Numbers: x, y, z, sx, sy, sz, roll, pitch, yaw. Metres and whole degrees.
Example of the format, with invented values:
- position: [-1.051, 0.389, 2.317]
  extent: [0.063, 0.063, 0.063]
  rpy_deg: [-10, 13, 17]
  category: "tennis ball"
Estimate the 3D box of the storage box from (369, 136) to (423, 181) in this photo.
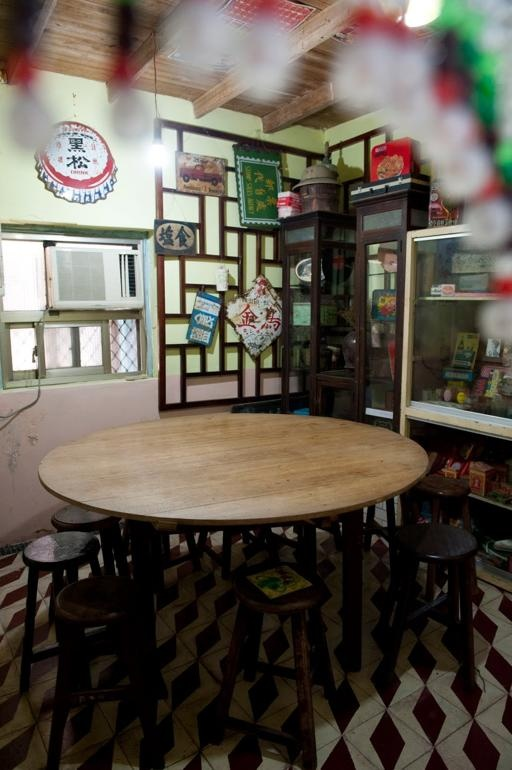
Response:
- position: [0.818, -1.331, 3.269]
  extent: [0.314, 0.249, 0.263]
  rpy_deg: [2, 8, 24]
  category: "storage box"

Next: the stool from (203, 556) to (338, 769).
- position: [0.053, 0.876, 1.845]
  extent: [0.417, 0.539, 0.462]
  rpy_deg: [0, 7, 8]
  category: "stool"

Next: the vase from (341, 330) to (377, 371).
- position: [0.713, -0.243, 3.766]
  extent: [0.194, 0.259, 0.248]
  rpy_deg: [1, 7, 20]
  category: "vase"

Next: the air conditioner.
- position: [-1.063, -0.753, 3.714]
  extent: [0.606, 0.429, 0.224]
  rpy_deg: [-2, 24, -12]
  category: "air conditioner"

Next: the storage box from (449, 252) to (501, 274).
- position: [1.148, -0.651, 2.912]
  extent: [0.069, 0.125, 0.302]
  rpy_deg: [-2, 7, -9]
  category: "storage box"

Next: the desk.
- position: [-0.024, 0.318, 2.128]
  extent: [1.115, 0.561, 1.136]
  rpy_deg: [1, 10, 6]
  category: "desk"
